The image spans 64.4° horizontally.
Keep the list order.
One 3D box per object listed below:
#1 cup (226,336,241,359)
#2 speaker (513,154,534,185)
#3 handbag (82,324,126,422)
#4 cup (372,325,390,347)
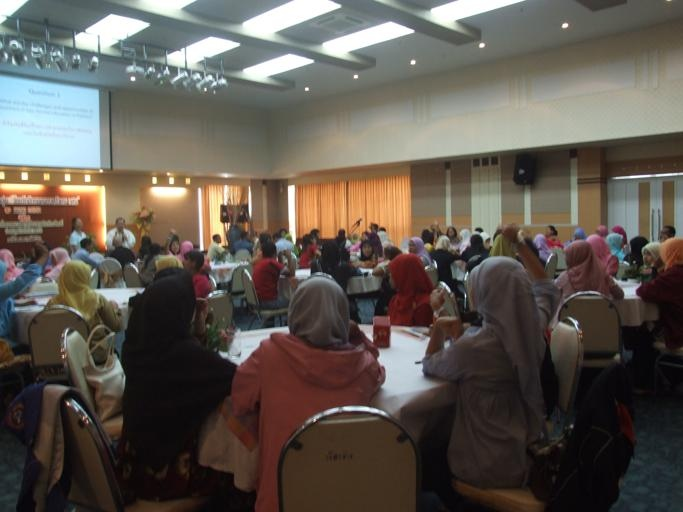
[{"bbox_3d":[-0.661,0.567,3.360,0.102,0.207,0.113,1,-6,-8],"label":"cup"},{"bbox_3d":[3.732,-1.758,11.037,0.416,0.639,0.264,1,3,20],"label":"speaker"},{"bbox_3d":[-1.427,0.713,3.238,0.129,0.505,0.412,-9,-8,-3],"label":"handbag"},{"bbox_3d":[0.260,0.523,3.530,0.108,0.129,0.119,0,-1,-14],"label":"cup"}]
